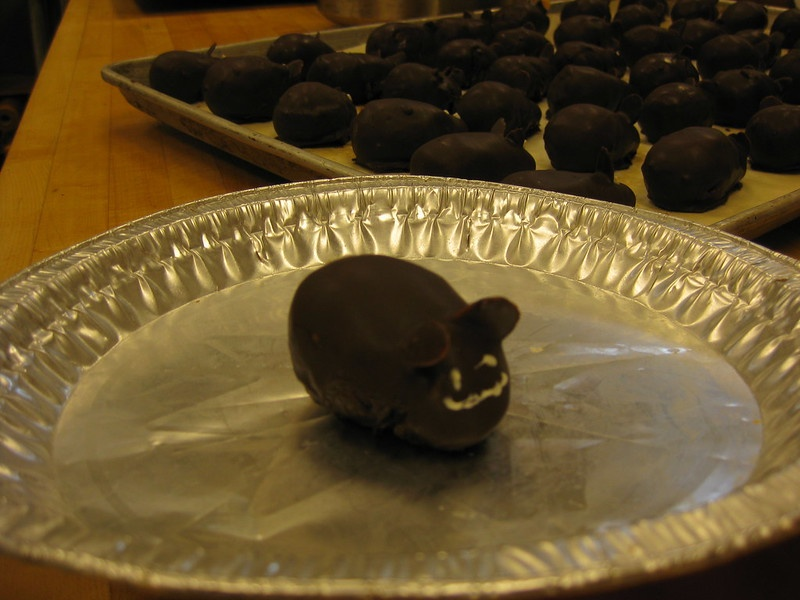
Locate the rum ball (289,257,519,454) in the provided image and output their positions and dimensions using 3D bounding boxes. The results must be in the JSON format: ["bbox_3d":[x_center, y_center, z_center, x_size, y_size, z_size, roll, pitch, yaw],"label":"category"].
[{"bbox_3d":[-0.006,0.035,0.496,0.146,0.088,0.110,37,52,24],"label":"rum ball"}]
